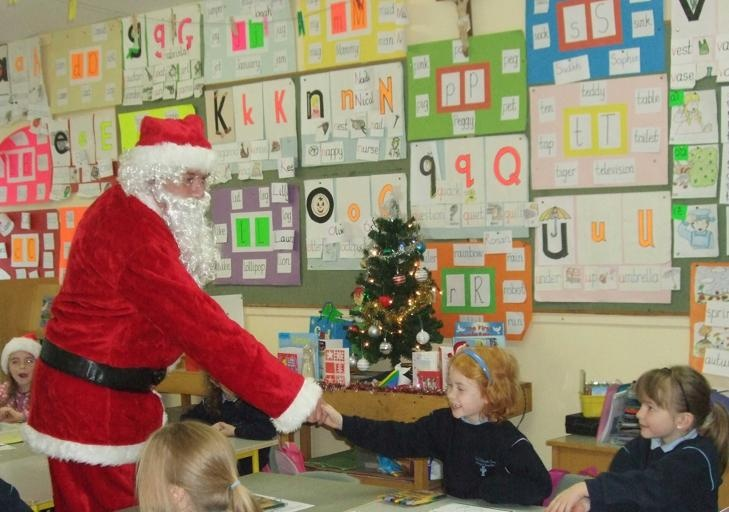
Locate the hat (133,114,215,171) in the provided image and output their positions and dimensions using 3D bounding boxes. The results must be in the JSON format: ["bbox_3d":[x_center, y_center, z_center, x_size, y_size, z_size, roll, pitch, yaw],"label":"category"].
[{"bbox_3d":[-0.755,-0.417,3.041,0.234,0.172,0.246,0,-1,39],"label":"hat"}]
